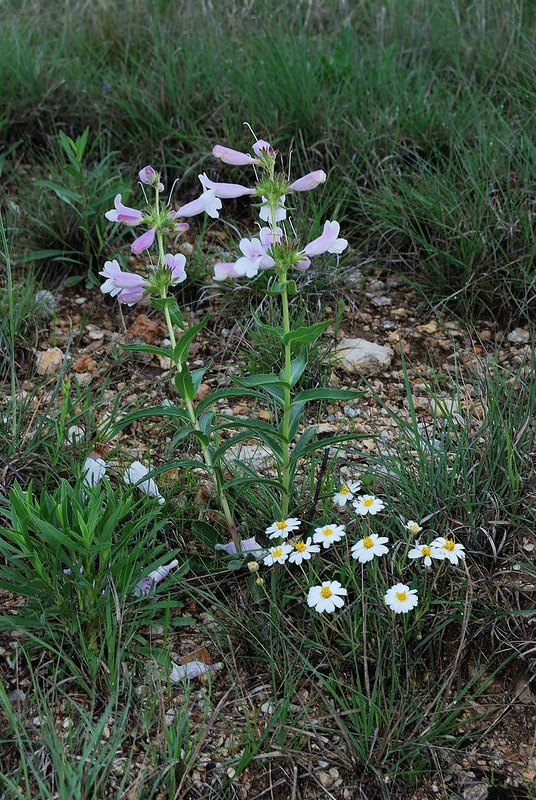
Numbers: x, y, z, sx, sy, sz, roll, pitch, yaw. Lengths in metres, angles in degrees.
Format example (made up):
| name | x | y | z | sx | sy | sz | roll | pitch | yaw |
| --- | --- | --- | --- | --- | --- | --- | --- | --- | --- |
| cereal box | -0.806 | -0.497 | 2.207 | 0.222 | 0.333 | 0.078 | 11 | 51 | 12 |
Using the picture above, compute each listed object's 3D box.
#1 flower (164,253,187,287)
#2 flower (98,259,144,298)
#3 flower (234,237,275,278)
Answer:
| name | x | y | z | sx | sy | sz | roll | pitch | yaw |
| --- | --- | --- | --- | --- | --- | --- | --- | --- | --- |
| flower | -0.248 | -0.335 | 1.727 | 0.079 | 0.078 | 0.040 | -8 | 2 | -37 |
| flower | -0.372 | -0.302 | 1.719 | 0.063 | 0.083 | 0.161 | 39 | -4 | 1 |
| flower | -0.053 | -0.309 | 1.502 | 0.104 | 0.097 | 0.046 | 6 | -8 | 20 |
